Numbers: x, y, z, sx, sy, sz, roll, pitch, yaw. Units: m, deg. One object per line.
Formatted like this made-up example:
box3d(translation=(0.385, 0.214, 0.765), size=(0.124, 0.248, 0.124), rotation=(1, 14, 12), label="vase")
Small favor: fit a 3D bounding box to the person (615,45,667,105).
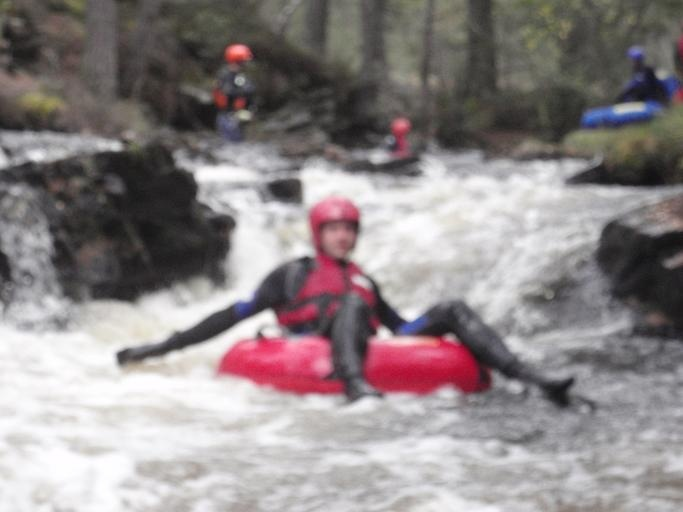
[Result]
box3d(translation=(4.191, -2.484, 19.295), size=(0.706, 0.755, 0.619), rotation=(-3, 16, 11), label="person")
